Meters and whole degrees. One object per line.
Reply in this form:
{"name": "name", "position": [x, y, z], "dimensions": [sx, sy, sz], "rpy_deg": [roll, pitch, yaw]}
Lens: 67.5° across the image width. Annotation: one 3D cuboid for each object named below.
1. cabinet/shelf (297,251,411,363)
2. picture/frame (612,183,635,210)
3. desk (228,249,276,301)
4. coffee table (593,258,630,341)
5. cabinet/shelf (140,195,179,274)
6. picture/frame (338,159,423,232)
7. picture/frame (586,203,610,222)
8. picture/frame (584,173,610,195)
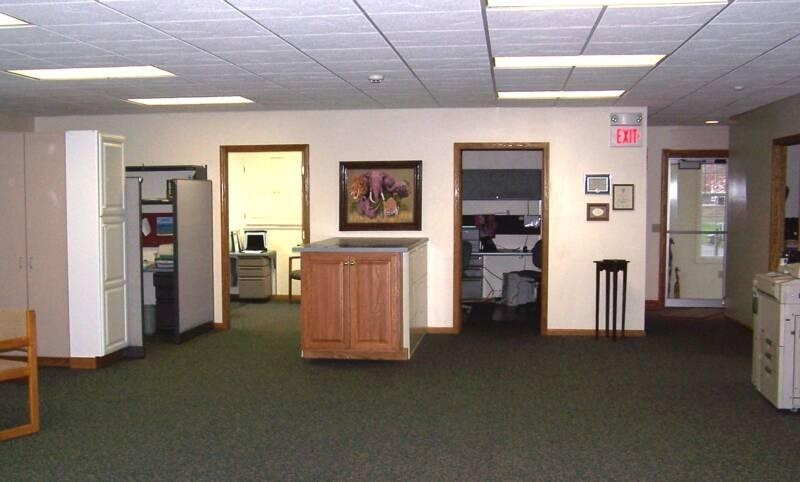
{"name": "cabinet/shelf", "position": [-0.700, 1.049, 9.135], "dimensions": [2.289, 1.862, 1.426], "rpy_deg": [-1, 0, 4]}
{"name": "picture/frame", "position": [3.631, -0.720, 9.723], "dimensions": [0.482, 0.481, 0.059], "rpy_deg": [2, 11, 7]}
{"name": "desk", "position": [-3.073, 0.697, 12.500], "dimensions": [1.067, 0.817, 0.812], "rpy_deg": [-2, 0, -8]}
{"name": "coffee table", "position": [3.292, 0.811, 9.668], "dimensions": [0.455, 0.858, 0.400], "rpy_deg": [2, -1, -19]}
{"name": "cabinet/shelf", "position": [-3.986, -0.123, 10.042], "dimensions": [0.516, 1.355, 1.445], "rpy_deg": [-1, 0, -25]}
{"name": "picture/frame", "position": [-0.267, -0.810, 9.994], "dimensions": [1.406, 0.996, 0.106], "rpy_deg": [0, 7, 3]}
{"name": "picture/frame", "position": [3.237, -0.474, 9.763], "dimensions": [0.362, 0.257, 0.027], "rpy_deg": [0, 8, 3]}
{"name": "picture/frame", "position": [3.224, -0.923, 9.750], "dimensions": [0.406, 0.299, 0.042], "rpy_deg": [0, 6, 3]}
